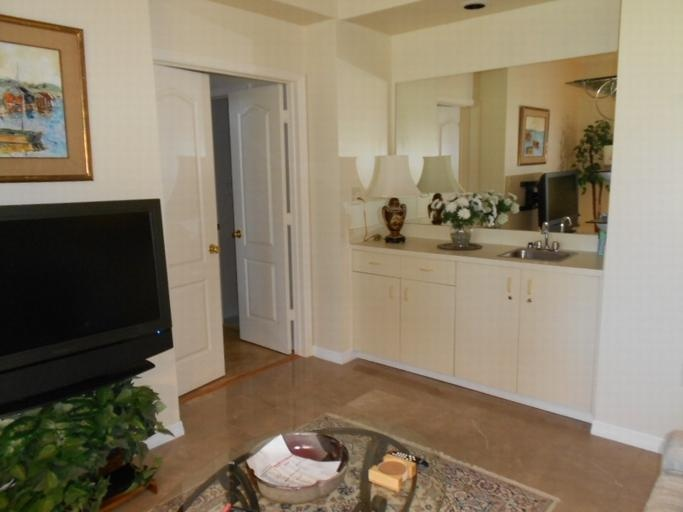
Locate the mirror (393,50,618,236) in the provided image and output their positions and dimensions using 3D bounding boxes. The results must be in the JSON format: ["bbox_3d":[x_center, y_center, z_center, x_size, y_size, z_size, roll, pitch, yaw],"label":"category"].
[{"bbox_3d":[1.308,-0.881,3.996,1.629,1.129,0.079,7,12,38],"label":"mirror"}]

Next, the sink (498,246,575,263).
[{"bbox_3d":[1.465,-0.012,3.884,0.270,0.093,0.217,5,13,35],"label":"sink"}]

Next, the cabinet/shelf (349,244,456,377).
[{"bbox_3d":[0.638,0.405,4.328,1.014,0.948,0.527,7,11,42],"label":"cabinet/shelf"}]

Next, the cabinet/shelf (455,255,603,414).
[{"bbox_3d":[1.398,0.531,3.807,1.045,0.976,0.529,5,8,40],"label":"cabinet/shelf"}]

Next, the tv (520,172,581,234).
[{"bbox_3d":[1.622,-0.421,4.006,0.456,0.446,0.266,-10,11,-32],"label":"tv"}]

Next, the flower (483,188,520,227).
[{"bbox_3d":[1.245,-0.368,4.091,0.259,0.272,0.176,-14,41,22],"label":"flower"}]

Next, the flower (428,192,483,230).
[{"bbox_3d":[0.898,-0.327,4.039,0.334,0.210,0.322,-3,-21,-24],"label":"flower"}]

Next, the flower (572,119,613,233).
[{"bbox_3d":[1.786,-0.625,3.738,0.244,0.707,0.106,6,13,23],"label":"flower"}]
